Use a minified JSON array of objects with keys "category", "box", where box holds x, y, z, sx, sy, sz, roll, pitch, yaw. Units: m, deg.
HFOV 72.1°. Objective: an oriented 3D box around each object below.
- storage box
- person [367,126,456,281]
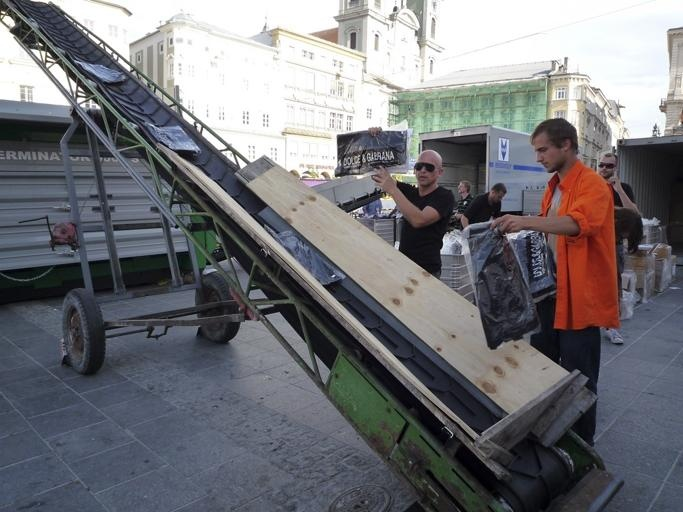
[{"category":"storage box","box":[6.465,0.345,9.876,0.648,0.711,2.059,15,38,36]},{"category":"person","box":[0.788,-0.391,4.923,0.734,1.418,1.102,3,11,15]}]
